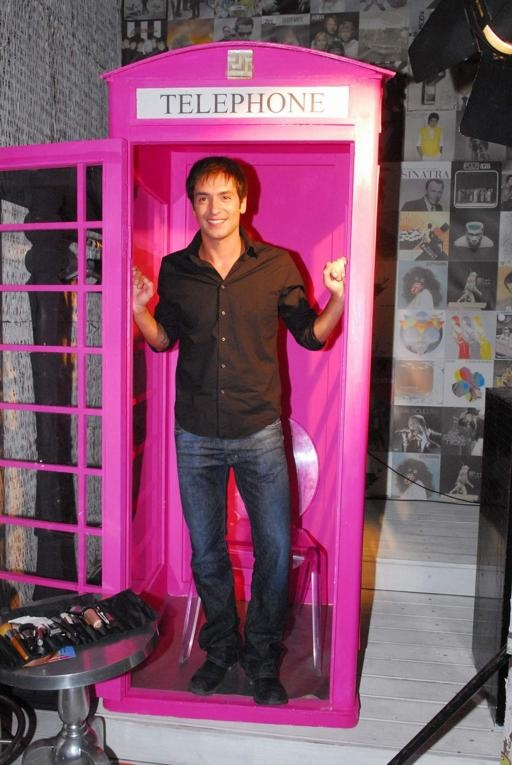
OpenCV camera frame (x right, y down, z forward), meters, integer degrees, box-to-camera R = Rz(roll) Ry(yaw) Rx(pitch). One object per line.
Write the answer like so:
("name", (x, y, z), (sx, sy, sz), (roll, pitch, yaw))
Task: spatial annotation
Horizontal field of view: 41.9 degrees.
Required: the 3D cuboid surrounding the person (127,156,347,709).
("person", (-0.093, 0.144, 2.185), (0.669, 1.704, 0.290), (9, 7, 11))
